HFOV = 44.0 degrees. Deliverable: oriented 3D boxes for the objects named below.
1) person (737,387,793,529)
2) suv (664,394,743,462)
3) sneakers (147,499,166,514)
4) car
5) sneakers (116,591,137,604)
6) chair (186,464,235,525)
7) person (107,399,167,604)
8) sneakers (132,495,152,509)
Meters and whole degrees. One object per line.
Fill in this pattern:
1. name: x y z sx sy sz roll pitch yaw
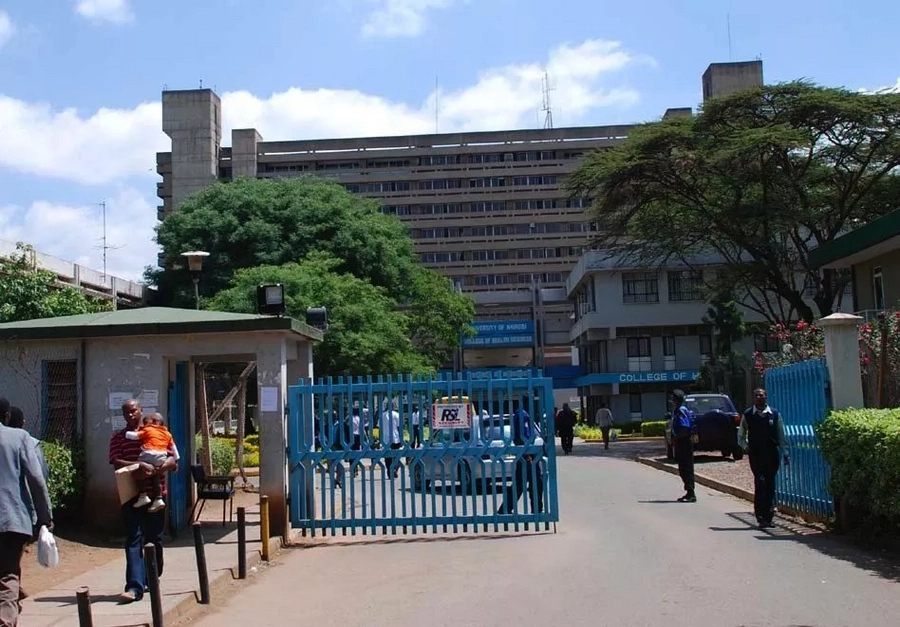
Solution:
1. person: 5.824 2.667 20.692 0.860 2.495 0.570 -3 -3 13
2. suv: 7.626 3.320 32.918 1.619 1.575 2.934 0 -1 4
3. sneakers: -4.492 2.886 16.729 0.322 0.249 0.115 -3 -7 14
4. car: 0.554 2.663 21.247 2.346 1.226 1.473 -1 -4 41
5. sneakers: -4.799 4.184 16.406 0.255 0.116 0.126 9 -24 -3
6. chair: -4.610 3.446 21.492 0.912 1.058 0.865 2 -3 -20
7. person: -4.713 2.791 16.844 0.841 2.967 1.084 -1 -4 -18
8. sneakers: -4.650 2.810 16.702 0.257 0.217 0.125 -1 -4 -19
